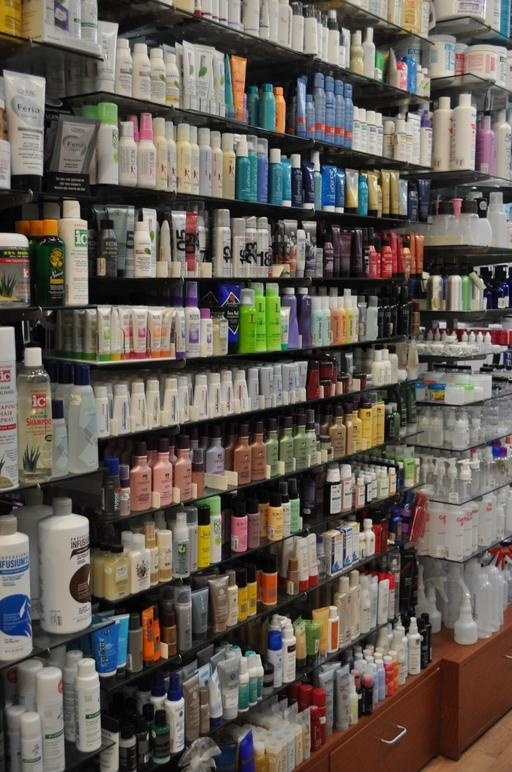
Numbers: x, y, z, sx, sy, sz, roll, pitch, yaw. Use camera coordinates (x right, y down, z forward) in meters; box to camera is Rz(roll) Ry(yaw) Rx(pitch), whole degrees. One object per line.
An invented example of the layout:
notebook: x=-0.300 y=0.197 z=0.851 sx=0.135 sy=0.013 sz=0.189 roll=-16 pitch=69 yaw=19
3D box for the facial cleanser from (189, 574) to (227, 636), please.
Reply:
facial cleanser: x=-0.144 y=0.655 z=2.001 sx=0.069 sy=0.148 sz=0.159 roll=-3 pitch=3 yaw=38

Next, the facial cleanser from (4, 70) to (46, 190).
facial cleanser: x=-0.423 y=-0.468 z=1.244 sx=0.051 sy=0.202 sz=0.066 roll=13 pitch=19 yaw=32

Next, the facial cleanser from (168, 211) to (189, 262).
facial cleanser: x=-0.209 y=-0.401 z=1.826 sx=0.058 sy=0.113 sz=0.022 roll=-6 pitch=3 yaw=-38

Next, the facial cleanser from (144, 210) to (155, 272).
facial cleanser: x=-0.270 y=-0.366 z=1.739 sx=0.025 sy=0.145 sz=0.075 roll=-4 pitch=2 yaw=1
